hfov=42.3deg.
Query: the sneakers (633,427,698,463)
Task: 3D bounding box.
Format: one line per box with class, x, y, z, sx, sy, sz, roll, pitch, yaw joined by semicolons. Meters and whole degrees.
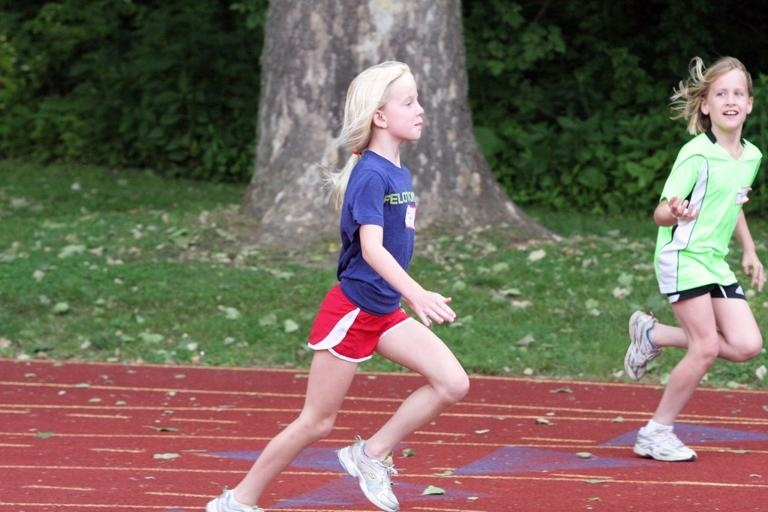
sneakers;2.322;1.577;8.264;0.564;0.263;0.224;5;0;13
